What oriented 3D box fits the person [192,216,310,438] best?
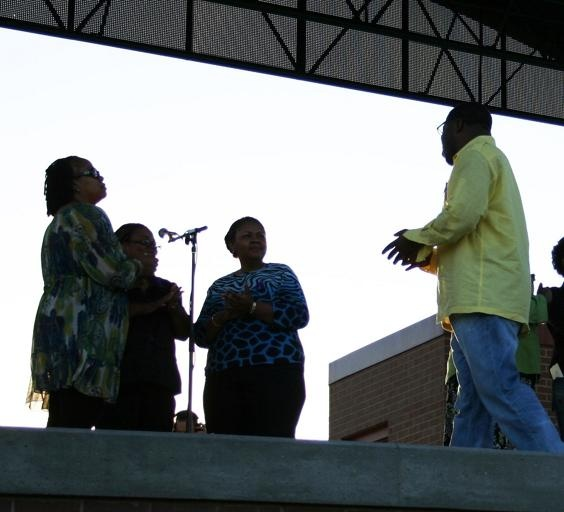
[{"bbox_3d":[-0.168,0.364,7.656,0.493,1.405,0.618,9,-22,-29],"label":"person"}]

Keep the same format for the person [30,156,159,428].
[{"bbox_3d":[-1.042,0.300,7.159,0.585,1.201,0.311,2,-19,-13],"label":"person"}]

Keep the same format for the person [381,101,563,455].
[{"bbox_3d":[1.045,0.106,7.288,0.743,2.091,0.671,-6,-19,12],"label":"person"}]

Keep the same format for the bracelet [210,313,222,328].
[{"bbox_3d":[-0.377,0.356,7.609,0.050,0.075,0.028,4,13,26],"label":"bracelet"}]

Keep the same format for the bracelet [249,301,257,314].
[{"bbox_3d":[-0.161,0.281,7.487,0.014,0.051,0.052,14,-13,-9],"label":"bracelet"}]
